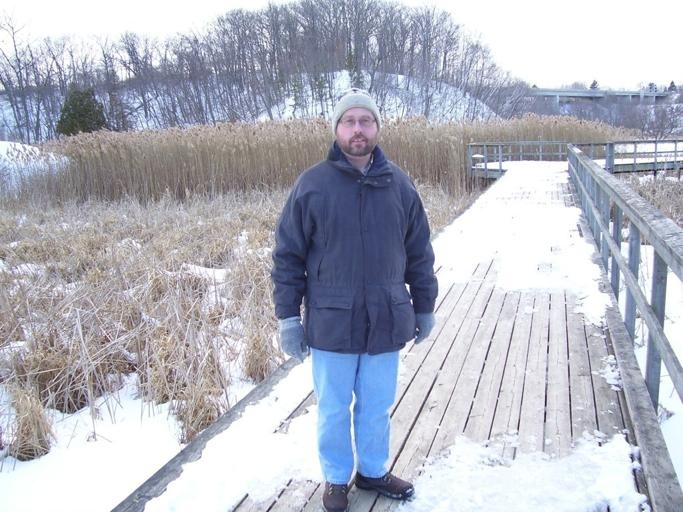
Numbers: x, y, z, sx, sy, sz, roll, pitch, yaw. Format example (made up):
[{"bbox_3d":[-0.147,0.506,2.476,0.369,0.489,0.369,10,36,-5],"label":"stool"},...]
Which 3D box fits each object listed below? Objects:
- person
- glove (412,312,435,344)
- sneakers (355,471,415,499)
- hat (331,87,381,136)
[{"bbox_3d":[0.098,0.242,2.963,0.937,2.222,0.551,-7,14,-12],"label":"person"},{"bbox_3d":[0.478,0.409,3.091,0.150,0.172,0.121,-5,7,-31],"label":"glove"},{"bbox_3d":[0.255,1.291,3.114,0.327,0.201,0.139,2,9,11],"label":"sneakers"},{"bbox_3d":[0.077,-0.786,2.999,0.180,0.178,0.261,0,0,-2],"label":"hat"}]
